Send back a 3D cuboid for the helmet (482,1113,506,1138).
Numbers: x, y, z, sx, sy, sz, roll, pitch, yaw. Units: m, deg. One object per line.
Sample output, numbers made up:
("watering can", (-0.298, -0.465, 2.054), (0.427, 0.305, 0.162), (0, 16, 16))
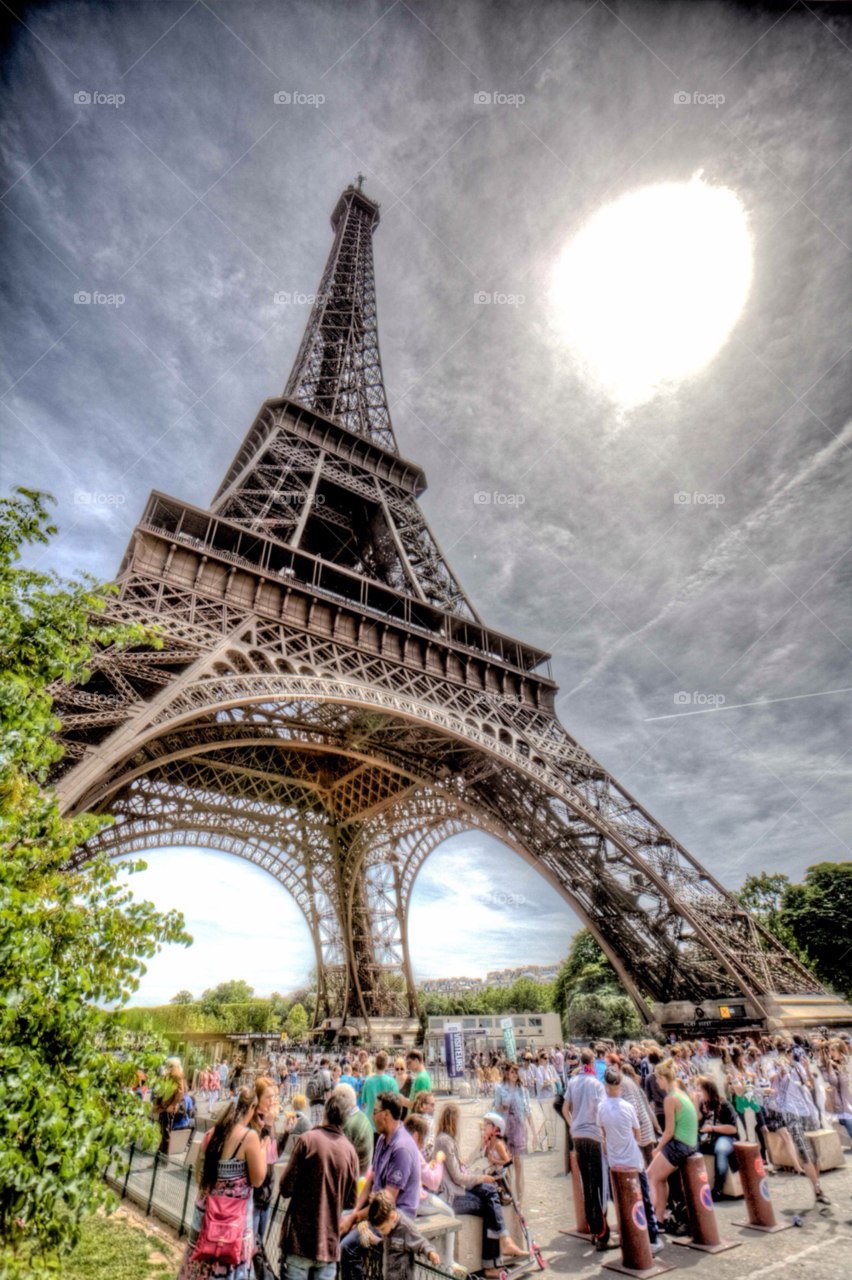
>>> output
("helmet", (0.621, 4.421, 6.080), (0.154, 0.164, 0.238), (-7, -28, 12))
